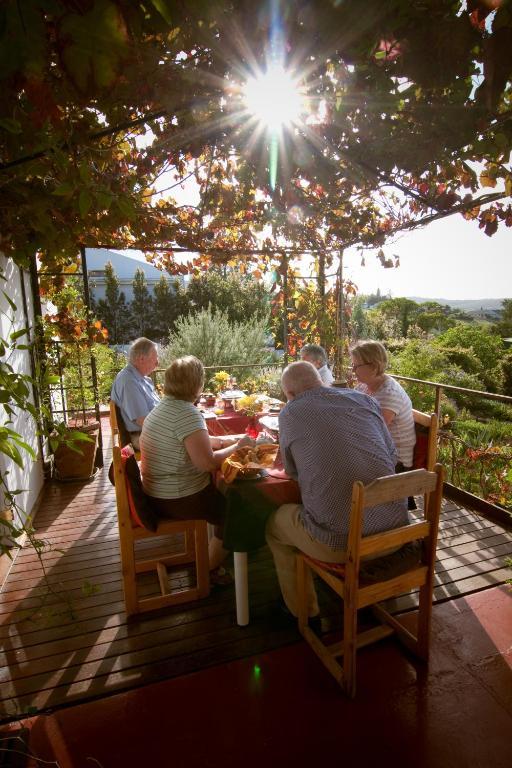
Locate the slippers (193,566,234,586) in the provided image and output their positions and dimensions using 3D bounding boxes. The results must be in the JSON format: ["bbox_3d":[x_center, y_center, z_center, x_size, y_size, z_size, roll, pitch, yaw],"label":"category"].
[{"bbox_3d":[-0.247,1.041,2.666,0.088,0.111,0.252,3,-4,-43],"label":"slippers"}]

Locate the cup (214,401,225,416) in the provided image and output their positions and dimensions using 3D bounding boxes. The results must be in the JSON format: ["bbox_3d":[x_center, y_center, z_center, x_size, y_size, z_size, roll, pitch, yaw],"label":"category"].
[{"bbox_3d":[-0.279,0.185,3.666,0.087,0.096,0.097,1,0,-1],"label":"cup"}]

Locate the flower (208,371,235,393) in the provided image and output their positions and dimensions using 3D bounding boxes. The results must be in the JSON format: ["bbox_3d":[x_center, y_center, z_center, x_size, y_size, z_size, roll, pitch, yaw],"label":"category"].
[{"bbox_3d":[-0.385,-0.013,5.060,0.275,0.290,0.280,-1,8,-10],"label":"flower"}]
